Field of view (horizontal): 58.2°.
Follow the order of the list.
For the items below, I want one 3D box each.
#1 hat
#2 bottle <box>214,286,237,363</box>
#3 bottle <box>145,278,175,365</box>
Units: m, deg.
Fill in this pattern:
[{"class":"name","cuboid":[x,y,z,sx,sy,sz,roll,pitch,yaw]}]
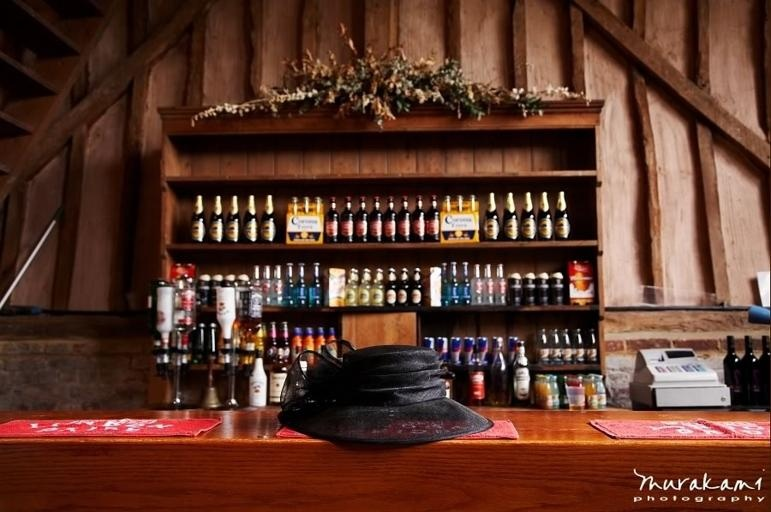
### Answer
[{"class":"hat","cuboid":[-0.068,0.553,2.792,0.599,0.199,0.472,-4,-7,27]},{"class":"bottle","cuboid":[-0.997,0.415,4.359,0.108,0.515,0.305,0,-10,-10]},{"class":"bottle","cuboid":[-1.334,0.404,4.135,0.144,0.506,0.217,2,-11,-20]}]
